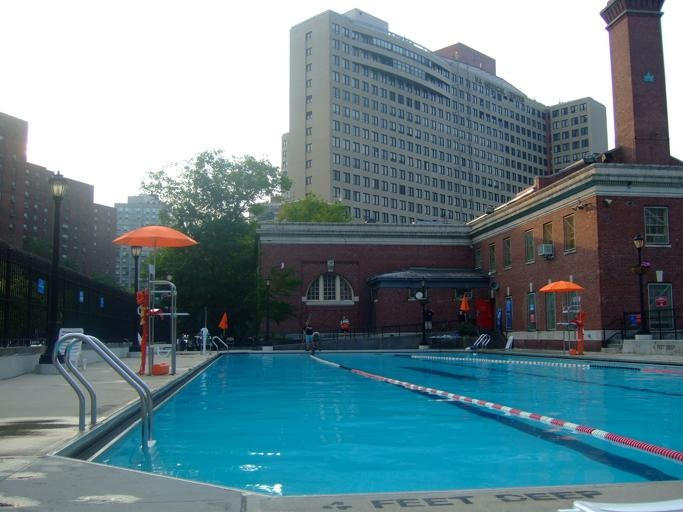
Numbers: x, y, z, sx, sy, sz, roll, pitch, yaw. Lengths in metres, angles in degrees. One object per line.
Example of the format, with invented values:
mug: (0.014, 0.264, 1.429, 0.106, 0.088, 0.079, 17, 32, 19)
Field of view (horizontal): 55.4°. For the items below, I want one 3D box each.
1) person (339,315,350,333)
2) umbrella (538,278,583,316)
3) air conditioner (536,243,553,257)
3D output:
person: (0.202, 4.507, 42.659, 0.782, 1.176, 0.610, 6, -20, -15)
umbrella: (10.885, 2.046, 32.020, 1.698, 1.123, 1.772, -2, -8, 8)
air conditioner: (10.541, -0.356, 33.847, 0.705, 0.578, 1.034, 8, -10, -12)
